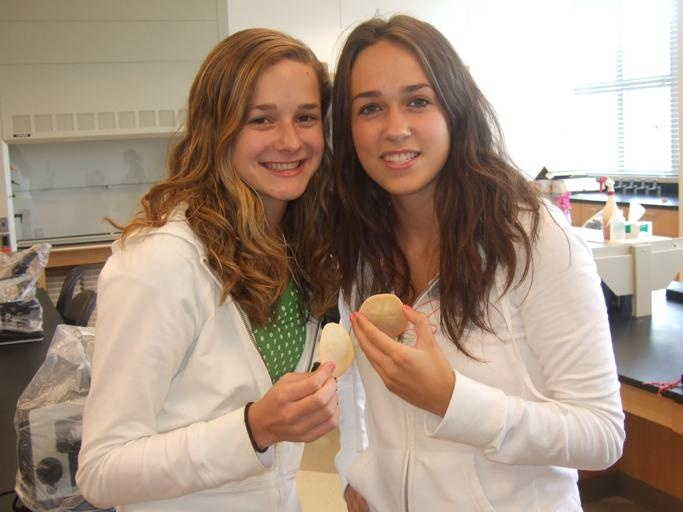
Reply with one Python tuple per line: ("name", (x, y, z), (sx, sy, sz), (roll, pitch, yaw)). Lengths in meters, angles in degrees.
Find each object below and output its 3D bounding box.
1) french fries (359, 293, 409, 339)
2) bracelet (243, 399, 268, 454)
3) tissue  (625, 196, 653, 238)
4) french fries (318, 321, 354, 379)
("french fries", (0.116, 0.145, 1.549), (0.132, 0.125, 0.119), (-6, 14, -25))
("bracelet", (-0.223, 0.449, 1.413), (0.055, 0.129, 0.046), (-2, 5, 8))
("tissue ", (1.513, -0.180, 2.800), (0.129, 0.190, 0.134), (0, 7, 30))
("french fries", (-0.015, 0.258, 1.556), (0.107, 0.146, 0.033), (6, 10, 6))
